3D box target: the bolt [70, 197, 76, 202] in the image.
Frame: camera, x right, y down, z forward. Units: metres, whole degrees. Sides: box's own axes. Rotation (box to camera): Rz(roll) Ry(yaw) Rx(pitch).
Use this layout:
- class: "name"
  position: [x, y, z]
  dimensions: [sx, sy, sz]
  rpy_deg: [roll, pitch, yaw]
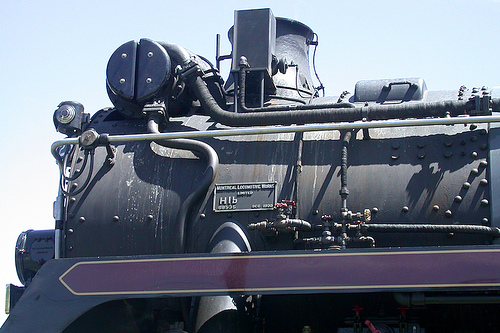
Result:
- class: "bolt"
  position: [-2.302, 0.439, 10.815]
  dimensions: [0.050, 0.053, 0.013]
  rpy_deg: [6, -9, -6]

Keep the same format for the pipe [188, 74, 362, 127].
- class: "pipe"
  position: [0.325, -0.935, 10.788]
  dimensions: [2.314, 0.244, 0.820]
  rpy_deg: [-4, -64, -4]

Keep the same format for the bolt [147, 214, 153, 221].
- class: "bolt"
  position: [-1.271, 0.655, 10.573]
  dimensions: [0.067, 0.058, 0.059]
  rpy_deg: [6, -56, 39]

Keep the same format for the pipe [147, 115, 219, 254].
- class: "pipe"
  position: [-0.856, 0.316, 10.602]
  dimensions: [1.116, 2.353, 0.269]
  rpy_deg: [-8, -37, 9]

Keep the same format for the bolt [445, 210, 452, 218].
- class: "bolt"
  position: [2.388, 0.569, 9.967]
  dimensions: [0.075, 0.089, 0.029]
  rpy_deg: [-1, -23, 13]

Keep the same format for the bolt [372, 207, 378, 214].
- class: "bolt"
  position: [1.530, 0.532, 10.129]
  dimensions: [0.072, 0.081, 0.048]
  rpy_deg: [1, -22, 7]

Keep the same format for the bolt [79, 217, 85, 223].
- class: "bolt"
  position: [-2.166, 0.688, 10.713]
  dimensions: [0.085, 0.072, 0.026]
  rpy_deg: [-7, -24, 24]

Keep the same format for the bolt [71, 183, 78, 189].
- class: "bolt"
  position: [-2.294, 0.257, 10.880]
  dimensions: [0.058, 0.057, 0.015]
  rpy_deg: [2, -19, -2]

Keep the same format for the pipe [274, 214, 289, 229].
- class: "pipe"
  position: [0.382, 0.659, 10.016]
  dimensions: [0.167, 0.168, 0.125]
  rpy_deg: [-4, -12, 19]

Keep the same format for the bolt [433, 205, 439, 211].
- class: "bolt"
  position: [2.244, 0.503, 9.998]
  dimensions: [0.056, 0.066, 0.053]
  rpy_deg: [31, -41, -34]

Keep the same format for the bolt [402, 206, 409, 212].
- class: "bolt"
  position: [1.890, 0.523, 10.068]
  dimensions: [0.053, 0.055, 0.064]
  rpy_deg: [-34, 6, 8]

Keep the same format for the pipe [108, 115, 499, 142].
- class: "pipe"
  position: [0.650, -0.471, 10.150]
  dimensions: [4.595, 0.387, 0.334]
  rpy_deg: [0, -23, 11]

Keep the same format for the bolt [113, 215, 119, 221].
- class: "bolt"
  position: [-1.706, 0.669, 10.621]
  dimensions: [0.055, 0.057, 0.066]
  rpy_deg: [-6, 7, -14]

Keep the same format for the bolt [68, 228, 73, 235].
- class: "bolt"
  position: [-2.313, 0.842, 10.732]
  dimensions: [0.064, 0.066, 0.024]
  rpy_deg: [-6, -24, 24]

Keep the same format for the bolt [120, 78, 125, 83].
- class: "bolt"
  position: [-1.732, -1.164, 11.317]
  dimensions: [0.060, 0.064, 0.015]
  rpy_deg: [2, -6, 0]

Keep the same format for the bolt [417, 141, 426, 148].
- class: "bolt"
  position: [2.134, -0.273, 10.314]
  dimensions: [0.078, 0.079, 0.021]
  rpy_deg: [1, -18, 6]

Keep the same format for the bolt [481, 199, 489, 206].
- class: "bolt"
  position: [2.810, 0.429, 9.902]
  dimensions: [0.085, 0.081, 0.033]
  rpy_deg: [0, -22, 10]
